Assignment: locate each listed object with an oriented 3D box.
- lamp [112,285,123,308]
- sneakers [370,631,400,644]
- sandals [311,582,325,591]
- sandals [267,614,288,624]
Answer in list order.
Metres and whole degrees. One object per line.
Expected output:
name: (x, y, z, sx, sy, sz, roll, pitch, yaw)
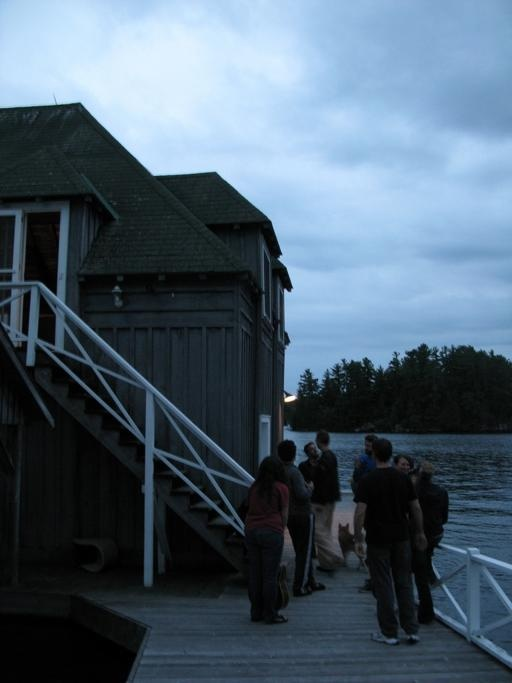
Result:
lamp: (-1.882, -0.628, 11.783, 0.154, 0.303, 0.237, 2, -3, -3)
sneakers: (1.128, 2.573, 7.625, 0.239, 0.130, 0.098, 5, 1, 36)
sandals: (0.672, 2.675, 9.552, 0.058, 0.076, 0.166, -3, -1, -45)
sandals: (0.199, 2.598, 8.211, 0.194, 0.100, 0.082, -1, 1, -9)
